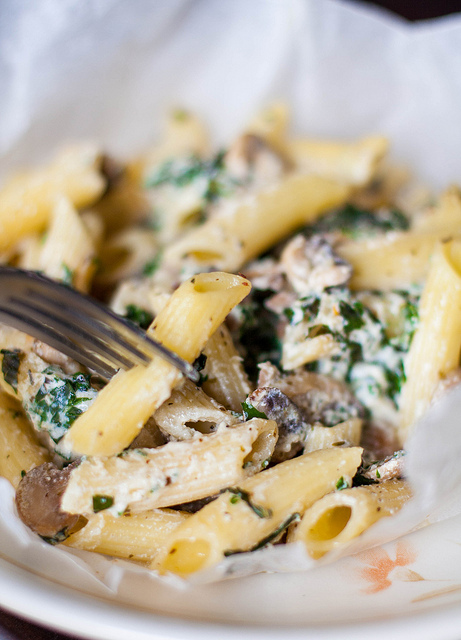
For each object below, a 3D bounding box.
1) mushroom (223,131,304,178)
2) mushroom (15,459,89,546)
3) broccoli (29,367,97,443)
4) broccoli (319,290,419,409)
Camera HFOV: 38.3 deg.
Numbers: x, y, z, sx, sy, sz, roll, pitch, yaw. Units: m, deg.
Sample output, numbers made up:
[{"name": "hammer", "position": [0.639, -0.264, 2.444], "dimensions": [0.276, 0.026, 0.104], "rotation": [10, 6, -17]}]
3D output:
[{"name": "mushroom", "position": [0.035, -0.193, 0.787], "dimensions": [0.086, 0.045, 0.043], "rotation": [-12, 61, 0]}, {"name": "mushroom", "position": [-0.161, 0.170, 0.657], "dimensions": [0.094, 0.073, 0.068], "rotation": [2, 98, 9]}, {"name": "broccoli", "position": [-0.160, 0.094, 0.725], "dimensions": [0.072, 0.029, 0.077], "rotation": [37, 88, 29]}, {"name": "broccoli", "position": [0.165, 0.036, 0.816], "dimensions": [0.047, 0.156, 0.129], "rotation": [-5, 82, 54]}]
